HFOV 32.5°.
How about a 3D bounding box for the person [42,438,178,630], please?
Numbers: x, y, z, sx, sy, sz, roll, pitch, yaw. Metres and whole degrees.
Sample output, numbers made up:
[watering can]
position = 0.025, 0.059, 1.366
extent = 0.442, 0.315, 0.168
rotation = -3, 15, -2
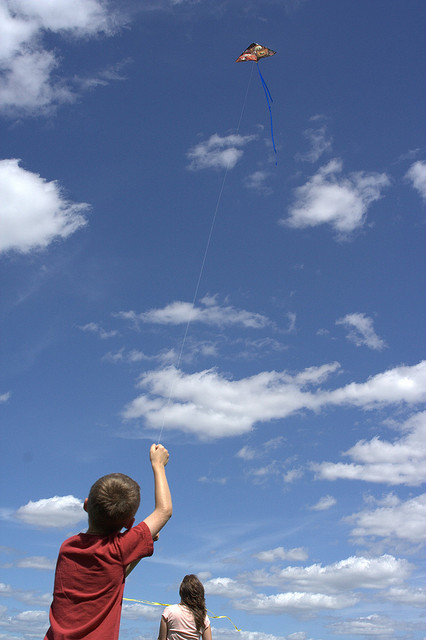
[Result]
[person]
position = -0.472, 1.030, 3.547
extent = 0.516, 0.873, 0.327
rotation = 8, -19, -18
